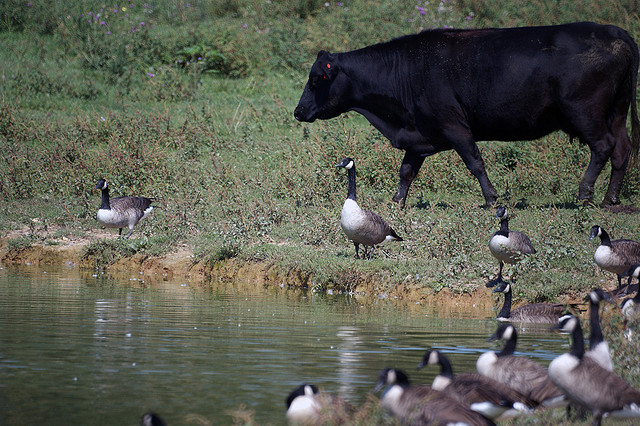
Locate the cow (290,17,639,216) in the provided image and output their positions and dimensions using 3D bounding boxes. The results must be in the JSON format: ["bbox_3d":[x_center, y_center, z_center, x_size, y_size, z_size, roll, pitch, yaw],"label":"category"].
[{"bbox_3d":[4.198,-3.022,24.821,10.607,5.622,4.122,2,10,20],"label":"cow"}]

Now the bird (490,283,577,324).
[{"bbox_3d":[4.286,1.847,17.979,1.418,0.752,0.548,2,6,14],"label":"bird"}]

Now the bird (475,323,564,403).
[{"bbox_3d":[3.123,2.370,13.909,0.711,1.080,1.332,2,12,-44],"label":"bird"}]

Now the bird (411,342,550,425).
[{"bbox_3d":[2.455,2.614,13.754,2.456,1.573,0.899,2,-4,12],"label":"bird"}]

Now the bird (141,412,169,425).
[{"bbox_3d":[-2.491,3.054,13.042,0.376,0.259,0.395,-1,6,-11],"label":"bird"}]

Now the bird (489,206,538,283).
[{"bbox_3d":[4.109,0.695,19.329,0.723,1.509,1.150,6,8,43],"label":"bird"}]
